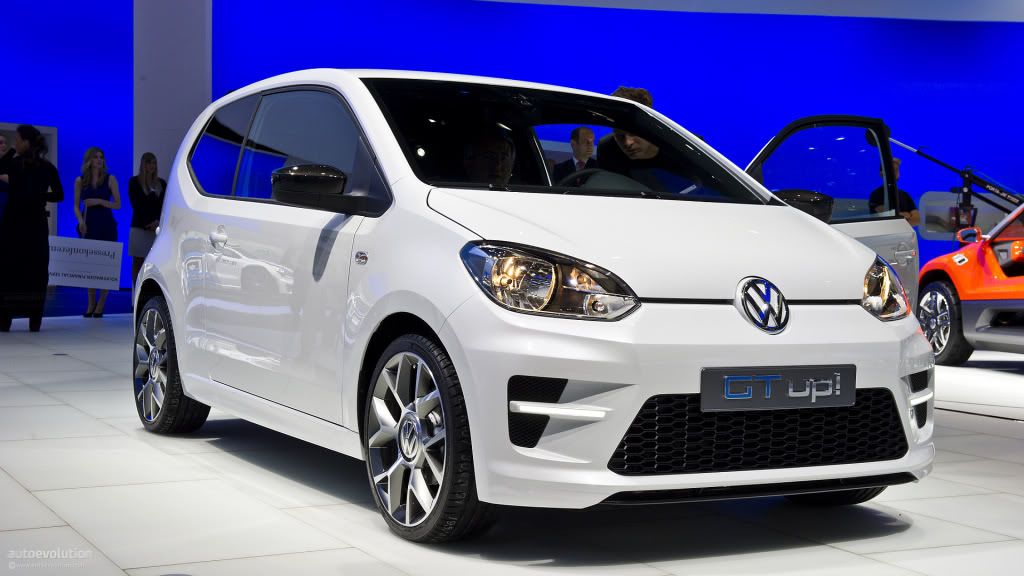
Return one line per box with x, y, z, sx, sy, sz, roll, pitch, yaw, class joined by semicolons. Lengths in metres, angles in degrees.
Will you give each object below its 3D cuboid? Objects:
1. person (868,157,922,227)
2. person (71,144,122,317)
3.750;-0.959;6.979;0.421;0.743;0.792;-4;0;42;person
-7.106;-1.621;12.080;0.706;1.574;0.439;0;5;-20;person
